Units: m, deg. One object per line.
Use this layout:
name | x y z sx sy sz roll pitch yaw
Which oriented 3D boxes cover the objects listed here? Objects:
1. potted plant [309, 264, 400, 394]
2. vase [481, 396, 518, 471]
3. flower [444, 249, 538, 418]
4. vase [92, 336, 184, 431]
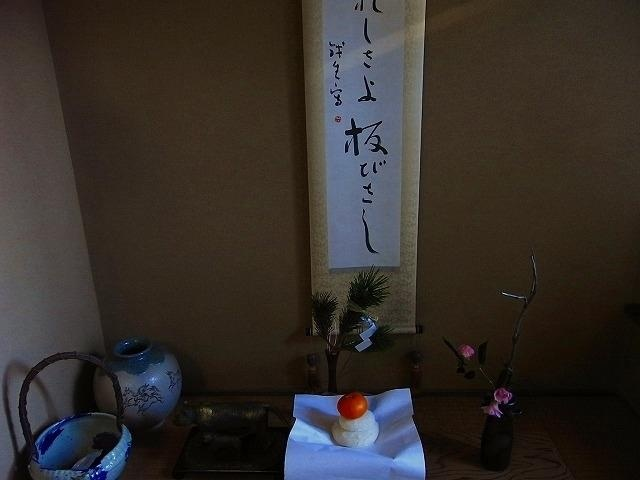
potted plant | 0.113 0.393 2.344 0.329 0.548 0.300 18 -5 -8
vase | 0.712 0.752 2.176 0.166 0.296 0.089 -4 14 -16
flower | 0.709 0.397 2.261 0.391 0.705 0.505 3 14 10
vase | -0.787 0.610 2.396 0.330 0.333 0.364 4 15 7
